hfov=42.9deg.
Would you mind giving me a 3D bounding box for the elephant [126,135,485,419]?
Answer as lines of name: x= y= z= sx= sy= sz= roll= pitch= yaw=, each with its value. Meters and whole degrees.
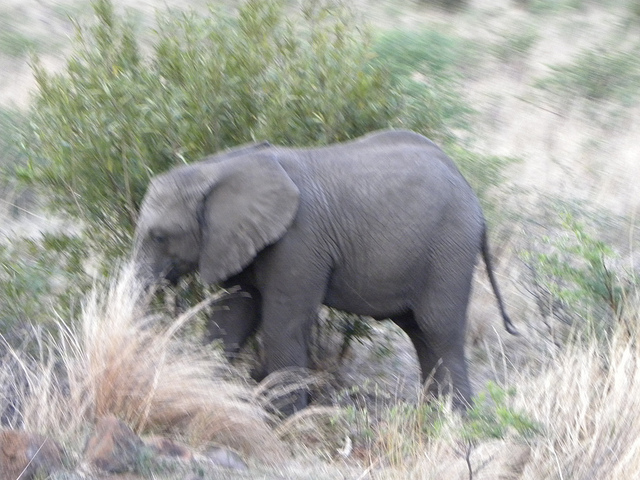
elephant: x=-0.059 y=0.185 z=4.363 sx=1.884 sy=1.531 sz=0.965 roll=-1 pitch=12 yaw=-8
